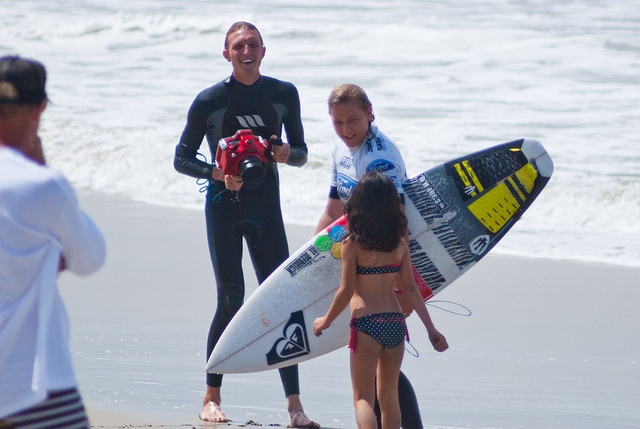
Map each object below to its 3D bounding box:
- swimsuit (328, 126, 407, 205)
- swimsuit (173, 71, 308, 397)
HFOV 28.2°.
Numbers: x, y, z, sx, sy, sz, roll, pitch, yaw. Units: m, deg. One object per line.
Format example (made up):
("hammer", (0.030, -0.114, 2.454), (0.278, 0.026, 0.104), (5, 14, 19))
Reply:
("swimsuit", (0.594, -0.620, 15.764), (0.955, 0.994, 0.573), (5, 16, 7))
("swimsuit", (-1.032, -0.033, 16.409), (1.919, 4.562, 1.528), (-2, 2, -3))
